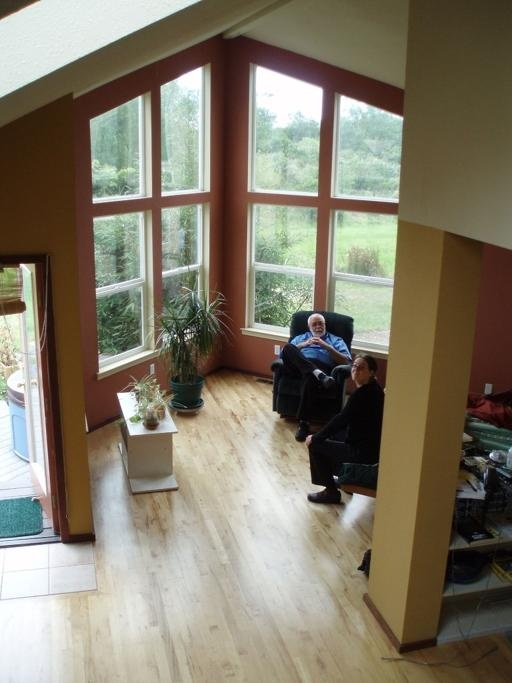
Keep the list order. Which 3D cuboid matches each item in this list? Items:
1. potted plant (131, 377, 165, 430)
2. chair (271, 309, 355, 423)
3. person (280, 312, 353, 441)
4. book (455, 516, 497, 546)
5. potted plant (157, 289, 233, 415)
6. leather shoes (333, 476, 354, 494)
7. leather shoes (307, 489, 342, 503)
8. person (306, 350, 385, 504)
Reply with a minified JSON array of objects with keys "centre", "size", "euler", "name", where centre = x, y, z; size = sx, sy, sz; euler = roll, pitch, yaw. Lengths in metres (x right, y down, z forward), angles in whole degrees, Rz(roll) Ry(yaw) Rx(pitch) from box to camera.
[{"centre":[-0.942,0.557,4.609],"size":[0.317,0.189,0.464],"euler":[-8,31,-23],"name":"potted plant"},{"centre":[0.638,0.216,5.846],"size":[1.001,1.310,1.186],"euler":[3,9,17],"name":"chair"},{"centre":[0.652,0.301,5.581],"size":[0.675,1.406,0.787],"euler":[17,-18,-39],"name":"person"},{"centre":[1.270,1.097,3.001],"size":[0.126,0.030,0.117],"euler":[-7,24,-18],"name":"book"},{"centre":[-0.744,0.010,6.255],"size":[0.828,1.355,1.678],"euler":[1,13,-3],"name":"potted plant"},{"centre":[0.629,0.979,3.591],"size":[0.145,0.148,0.090],"euler":[7,14,21],"name":"leather shoes"},{"centre":[0.577,1.275,4.299],"size":[0.293,0.122,0.110],"euler":[3,8,7],"name":"leather shoes"},{"centre":[0.669,0.738,3.969],"size":[0.563,1.275,0.443],"euler":[7,14,21],"name":"person"}]
